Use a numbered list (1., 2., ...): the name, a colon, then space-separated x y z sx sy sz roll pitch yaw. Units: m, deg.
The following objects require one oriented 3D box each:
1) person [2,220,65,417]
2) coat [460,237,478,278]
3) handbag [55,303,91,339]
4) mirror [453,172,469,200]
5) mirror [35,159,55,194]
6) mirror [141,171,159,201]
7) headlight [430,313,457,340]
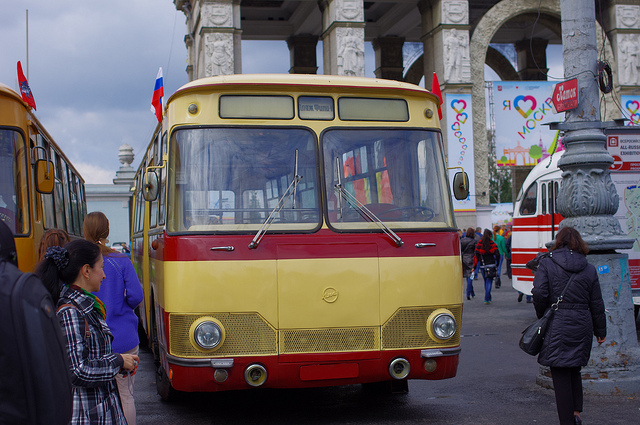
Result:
1. person: -1.705 0.744 4.030 0.325 0.798 0.164 -1 1 9
2. coat: 4.346 1.314 20.080 0.457 1.206 1.069 -1 1 11
3. handbag: -2.009 0.859 5.482 0.286 0.274 0.205 -10 4 -34
4. mirror: 1.760 -0.347 8.672 0.179 0.344 0.309 -1 1 11
5. mirror: -3.696 -0.499 9.245 0.276 0.332 0.235 -1 1 -37
6. mirror: -2.065 -0.329 8.251 0.099 0.380 0.387 -2 0 22
7. headlight: 1.409 1.318 8.000 0.285 0.299 0.104 3 -3 -22
